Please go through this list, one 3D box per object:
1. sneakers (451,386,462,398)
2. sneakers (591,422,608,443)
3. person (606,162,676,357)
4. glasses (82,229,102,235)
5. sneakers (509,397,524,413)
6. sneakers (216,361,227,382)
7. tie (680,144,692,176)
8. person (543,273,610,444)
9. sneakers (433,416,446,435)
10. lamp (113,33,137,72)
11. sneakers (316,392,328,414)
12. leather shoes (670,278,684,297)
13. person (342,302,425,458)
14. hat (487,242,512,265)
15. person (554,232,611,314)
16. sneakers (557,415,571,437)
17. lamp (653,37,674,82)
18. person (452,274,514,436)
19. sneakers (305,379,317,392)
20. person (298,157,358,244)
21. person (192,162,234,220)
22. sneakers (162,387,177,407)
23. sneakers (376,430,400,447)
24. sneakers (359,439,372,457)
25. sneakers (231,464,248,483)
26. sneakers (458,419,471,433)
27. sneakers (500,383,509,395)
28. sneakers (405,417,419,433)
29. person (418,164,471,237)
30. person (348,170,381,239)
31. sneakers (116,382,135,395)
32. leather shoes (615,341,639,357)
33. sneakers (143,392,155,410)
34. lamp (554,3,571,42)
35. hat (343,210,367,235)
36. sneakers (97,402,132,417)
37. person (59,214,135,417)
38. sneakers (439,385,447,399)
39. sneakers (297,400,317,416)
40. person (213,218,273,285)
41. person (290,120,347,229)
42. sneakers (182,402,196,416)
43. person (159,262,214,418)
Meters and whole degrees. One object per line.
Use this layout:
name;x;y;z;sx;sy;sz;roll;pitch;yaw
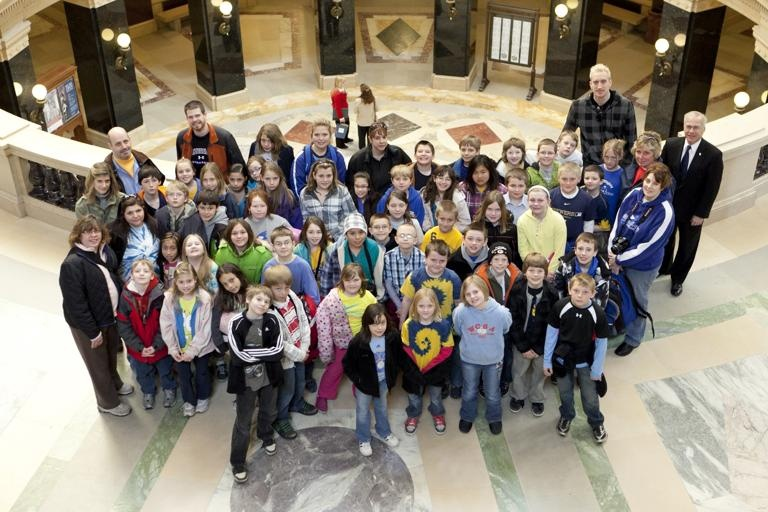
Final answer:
sneakers;0.769;1.479;5.873;0.070;0.056;0.140;1;47;6
sneakers;2.170;1.784;5.437;0.106;0.224;0.096;-1;-13;15
person;2.855;0.017;6.142;0.624;2.059;0.853;9;28;29
glasses;-2.850;-0.243;5.259;0.134;0.049;0.028;-16;26;-22
sneakers;1.411;1.561;5.776;0.097;0.077;0.177;6;53;17
sneakers;-1.823;1.287;6.038;0.094;0.096;0.218;-6;34;-11
tie;3.568;-1.166;6.411;0.107;0.317;0.076;1;25;14
person;1.881;1.013;5.270;0.654;1.767;0.330;2;25;16
sneakers;0.564;1.731;5.570;0.073;0.082;0.206;0;62;4
lamp;-5.302;-4.148;10.914;0.416;0.715;0.283;-23;29;-33
sneakers;-0.668;1.571;5.754;0.089;0.082;0.185;-7;26;-16
leather shoes;3.659;0.399;6.786;0.114;0.100;0.239;3;57;27
person;-0.092;1.170;5.269;0.577;1.536;0.441;-10;25;-9
hat;1.151;-0.031;5.385;0.194;0.198;0.218;3;-7;6
person;2.066;0.229;5.660;0.563;0.917;0.552;11;29;30
sneakers;1.819;1.732;5.507;0.096;0.106;0.252;9;74;5
lamp;5.299;-3.792;10.276;0.311;0.727;0.218;8;28;28
person;0.965;0.993;5.336;0.554;1.731;0.315;-2;25;7
sneakers;-0.809;1.432;5.972;0.080;0.062;0.154;-30;70;1
person;-0.715;-0.648;6.596;0.702;1.024;0.592;-5;26;-8
person;-1.975;-0.701;6.559;0.349;0.911;0.301;21;37;33
sneakers;-2.323;1.523;5.808;0.091;0.095;0.218;-1;37;-3
sneakers;0.038;1.866;5.523;0.241;0.105;0.096;23;59;20
sneakers;-0.187;1.916;5.368;0.080;0.083;0.185;-32;59;-16
sneakers;-1.386;2.093;5.173;0.094;0.084;0.207;-8;37;-14
sneakers;0.821;1.752;5.558;0.081;0.150;0.155;2;71;2
sneakers;1.289;1.435;5.882;0.052;0.058;0.145;1;59;13
sneakers;0.264;1.737;5.559;0.081;0.084;0.197;-3;69;2
person;0.713;-0.630;6.323;0.719;1.022;0.573;2;36;8
person;-0.270;-0.650;6.945;0.485;0.967;0.303;1;30;7
sneakers;-2.825;1.448;5.900;0.158;0.068;0.081;-10;48;2
leather shoes;2.800;1.070;6.287;0.275;0.112;0.109;-26;61;0
sneakers;-2.525;1.550;5.786;0.083;0.084;0.194;-2;56;-11
lamp;3.866;-5.181;11.824;0.332;0.737;0.170;3;26;19
hat;-0.317;-0.358;5.763;0.183;0.228;0.254;0;30;0
sneakers;-2.856;1.634;5.737;0.298;0.130;0.142;-1;35;-2
person;-2.895;0.653;5.509;0.610;2.090;0.447;-21;28;-30
sneakers;0.639;1.468;5.841;0.071;0.059;0.149;0;72;2
sneakers;-0.821;1.607;5.733;0.220;0.085;0.116;8;46;4
person;-1.527;-0.035;5.722;0.614;0.855;0.273;-7;41;-4
person;-0.880;-0.921;7.399;0.752;1.902;0.541;-5;22;-14
sneakers;-2.076;1.615;5.704;0.101;0.061;0.152;-2;74;1
person;-1.969;0.852;5.531;0.572;1.662;0.292;-15;26;-19
